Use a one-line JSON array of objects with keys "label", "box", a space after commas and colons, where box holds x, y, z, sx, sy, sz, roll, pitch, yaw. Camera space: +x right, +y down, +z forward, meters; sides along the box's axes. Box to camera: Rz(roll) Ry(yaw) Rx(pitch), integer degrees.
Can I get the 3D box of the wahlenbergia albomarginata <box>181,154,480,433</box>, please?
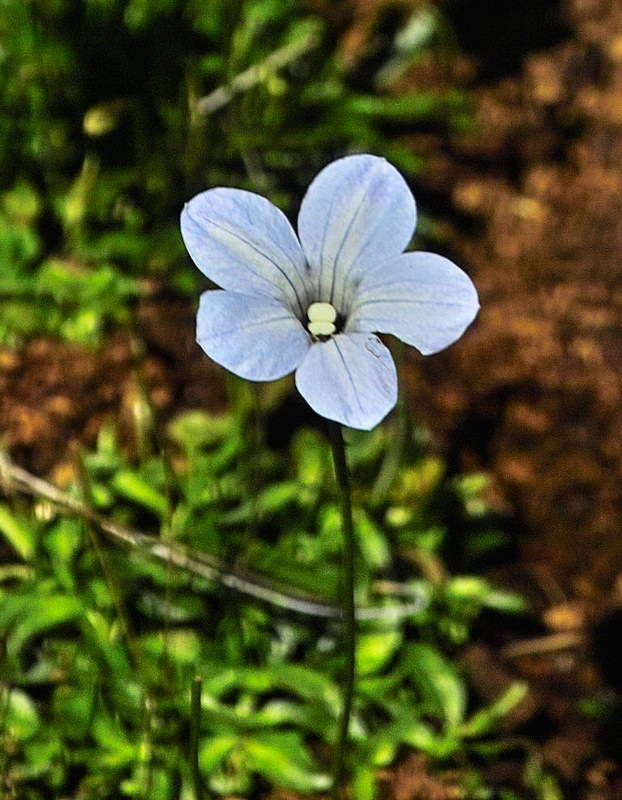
[{"label": "wahlenbergia albomarginata", "box": [0.023, -0.161, 1.330, 0.402, 0.227, 0.435, -25, 85, -2]}]
